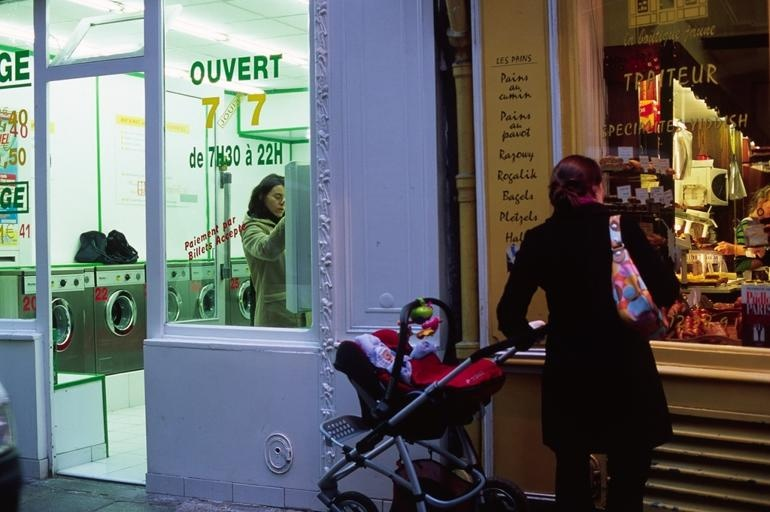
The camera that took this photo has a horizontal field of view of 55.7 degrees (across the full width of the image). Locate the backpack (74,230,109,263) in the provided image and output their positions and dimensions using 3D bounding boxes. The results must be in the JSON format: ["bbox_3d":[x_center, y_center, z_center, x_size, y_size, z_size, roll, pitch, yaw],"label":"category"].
[{"bbox_3d":[-3.989,-0.114,9.667,0.317,0.368,0.194,5,-29,-15],"label":"backpack"}]

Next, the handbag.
[{"bbox_3d":[1.636,0.221,4.387,0.333,0.571,0.131,-2,1,-7],"label":"handbag"}]

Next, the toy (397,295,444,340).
[{"bbox_3d":[0.286,0.496,5.013,0.353,0.413,0.257,5,23,12],"label":"toy"}]

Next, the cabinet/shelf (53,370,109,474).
[{"bbox_3d":[-3.108,1.656,7.277,0.406,0.979,0.456,4,7,38],"label":"cabinet/shelf"}]
